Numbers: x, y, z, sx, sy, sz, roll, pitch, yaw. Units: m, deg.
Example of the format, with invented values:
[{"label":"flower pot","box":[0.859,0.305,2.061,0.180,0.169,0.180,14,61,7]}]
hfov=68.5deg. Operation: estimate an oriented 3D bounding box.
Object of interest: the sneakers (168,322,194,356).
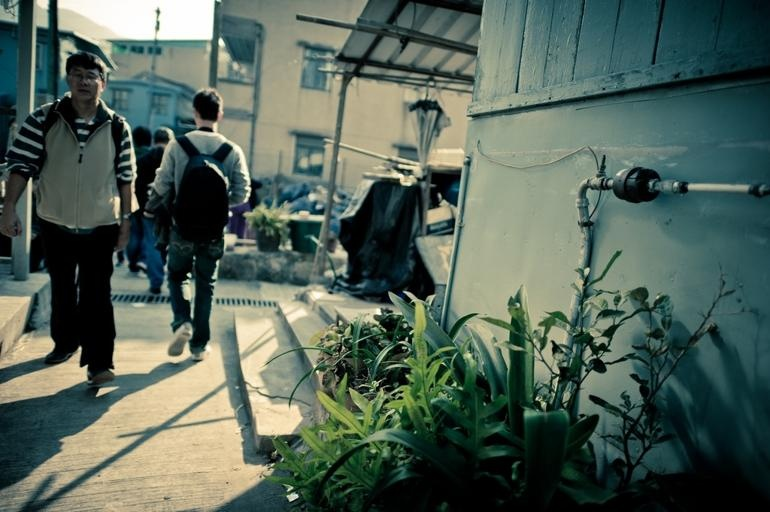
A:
[{"label":"sneakers","box":[-1.628,0.677,4.517,0.128,0.356,0.139,23,23,-30]}]

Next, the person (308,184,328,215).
[{"label":"person","box":[-1.819,-1.475,14.859,0.476,0.630,1.768,3,10,-7]}]

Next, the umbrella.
[{"label":"umbrella","box":[0.553,-1.749,7.165,0.584,1.214,0.485,1,11,-29]}]

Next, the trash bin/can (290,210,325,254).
[{"label":"trash bin/can","box":[-1.195,-0.370,8.743,0.610,0.540,0.622,1,3,-2]}]

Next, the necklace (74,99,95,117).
[{"label":"necklace","box":[-2.066,-1.016,3.873,0.093,0.103,0.106,10,9,10]}]

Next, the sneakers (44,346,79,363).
[{"label":"sneakers","box":[-2.496,0.766,4.379,0.099,0.108,0.250,8,3,42]}]

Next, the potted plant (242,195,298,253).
[{"label":"potted plant","box":[-1.751,-0.463,8.714,0.752,0.743,0.763,0,-3,2]}]

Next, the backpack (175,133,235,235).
[{"label":"backpack","box":[-1.474,-0.586,4.524,0.460,0.723,0.729,6,4,-26]}]

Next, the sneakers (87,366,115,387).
[{"label":"sneakers","box":[-2.000,0.869,3.970,0.094,0.121,0.255,1,-8,-35]}]
